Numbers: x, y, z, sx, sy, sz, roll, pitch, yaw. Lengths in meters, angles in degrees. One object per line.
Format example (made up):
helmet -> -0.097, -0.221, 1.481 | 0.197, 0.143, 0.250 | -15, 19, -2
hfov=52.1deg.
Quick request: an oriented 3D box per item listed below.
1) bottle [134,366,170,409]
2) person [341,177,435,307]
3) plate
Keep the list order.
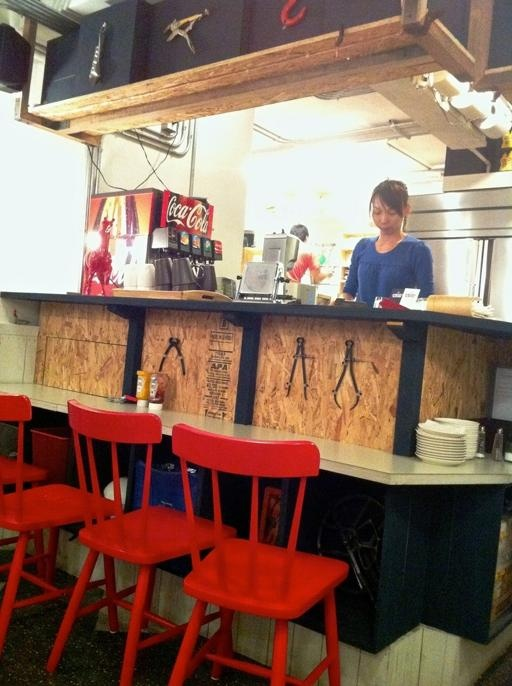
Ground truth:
bottle -> -0.516, 0.214, 2.566 | 0.166, 0.274, 0.164 | 1, 2, 0
person -> 0.834, -0.641, 3.406 | 0.286, 0.803, 0.738 | 1, 5, -30
plate -> 0.629, 0.326, 1.793 | 0.167, 0.104, 0.222 | 1, 1, 3
